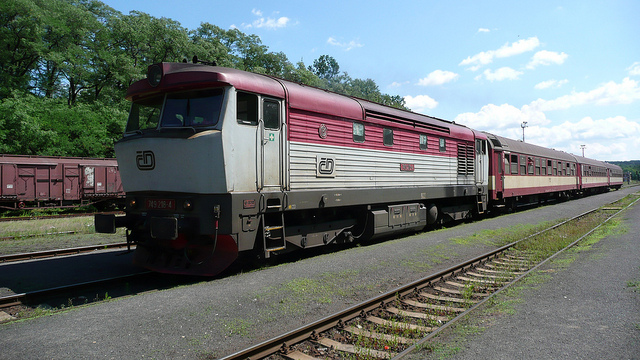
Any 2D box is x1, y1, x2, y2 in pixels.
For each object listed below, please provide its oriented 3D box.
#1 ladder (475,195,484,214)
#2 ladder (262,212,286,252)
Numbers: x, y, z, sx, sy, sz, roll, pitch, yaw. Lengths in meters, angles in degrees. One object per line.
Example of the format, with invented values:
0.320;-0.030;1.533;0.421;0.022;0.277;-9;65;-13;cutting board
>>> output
9.194;1.425;21.069;0.231;0.998;0.521;-1;-1;28;ladder
-1.575;1.807;12.584;0.955;1.294;0.348;-5;8;-39;ladder
